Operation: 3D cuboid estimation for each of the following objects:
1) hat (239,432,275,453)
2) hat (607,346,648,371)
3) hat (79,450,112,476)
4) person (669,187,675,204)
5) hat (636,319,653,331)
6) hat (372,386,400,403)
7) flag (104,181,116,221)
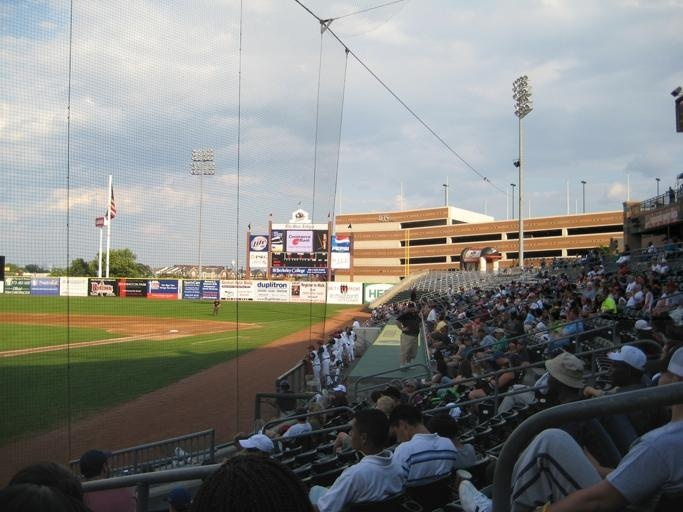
[{"bbox_3d":[-1.102,2.474,10.674,0.480,0.162,0.311,8,-9,1],"label":"hat"},{"bbox_3d":[3.419,1.195,9.724,0.397,0.191,0.282,20,15,29],"label":"hat"},{"bbox_3d":[-3.023,2.526,9.985,0.280,0.197,0.362,0,27,9],"label":"hat"},{"bbox_3d":[12.325,-2.202,30.152,0.178,0.523,0.821,-3,-3,20],"label":"person"},{"bbox_3d":[5.097,1.164,13.611,0.340,0.166,0.230,-2,6,-27],"label":"hat"},{"bbox_3d":[0.713,2.101,12.306,0.434,0.148,0.264,12,-5,-4],"label":"hat"},{"bbox_3d":[-3.492,-0.820,12.316,0.147,0.494,0.335,-1,-3,-14],"label":"flag"}]
